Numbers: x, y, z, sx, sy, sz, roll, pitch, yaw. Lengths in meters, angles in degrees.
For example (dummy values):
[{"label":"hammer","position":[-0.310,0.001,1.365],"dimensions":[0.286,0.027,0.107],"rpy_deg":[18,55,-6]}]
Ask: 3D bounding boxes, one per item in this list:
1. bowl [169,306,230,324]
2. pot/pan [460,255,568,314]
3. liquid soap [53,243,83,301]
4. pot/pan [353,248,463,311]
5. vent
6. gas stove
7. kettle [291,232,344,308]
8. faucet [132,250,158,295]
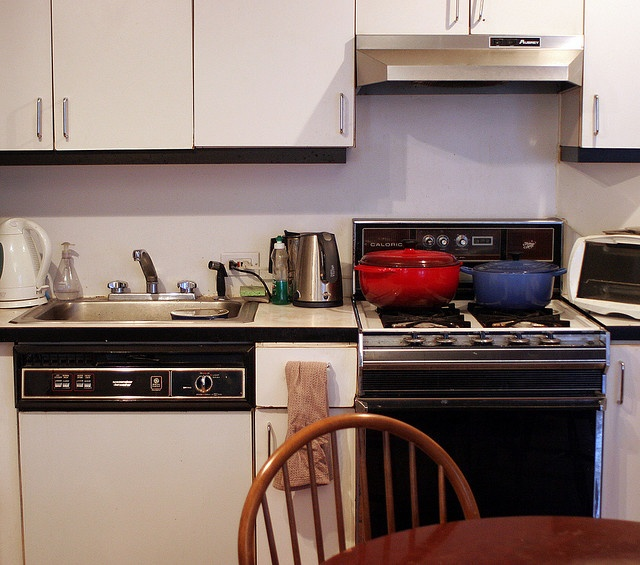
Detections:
[{"label":"bowl","position":[-0.432,0.117,2.413],"dimensions":[0.197,0.047,0.264],"rpy_deg":[-3,8,-5]},{"label":"pot/pan","position":[0.681,0.003,2.358],"dimensions":[0.308,0.180,0.379],"rpy_deg":[3,-4,4]},{"label":"liquid soap","position":[-0.974,-0.043,2.577],"dimensions":[0.096,0.211,0.128],"rpy_deg":[-5,8,-17]},{"label":"pot/pan","position":[0.293,-0.035,2.219],"dimensions":[0.212,0.139,0.264],"rpy_deg":[0,4,14]},{"label":"vent","position":[0.506,-0.764,2.348],"dimensions":[0.768,0.202,0.396],"rpy_deg":[-3,7,0]},{"label":"gas stove","position":[0.508,0.143,2.222],"dimensions":[0.770,0.099,0.413],"rpy_deg":[-3,8,0]},{"label":"kettle","position":[-0.003,-0.044,2.468],"dimensions":[0.189,0.262,0.239],"rpy_deg":[-2,4,-20]},{"label":"faucet","position":[-0.663,-0.038,2.563],"dimensions":[0.048,0.135,0.178],"rpy_deg":[-10,-35,14]}]
